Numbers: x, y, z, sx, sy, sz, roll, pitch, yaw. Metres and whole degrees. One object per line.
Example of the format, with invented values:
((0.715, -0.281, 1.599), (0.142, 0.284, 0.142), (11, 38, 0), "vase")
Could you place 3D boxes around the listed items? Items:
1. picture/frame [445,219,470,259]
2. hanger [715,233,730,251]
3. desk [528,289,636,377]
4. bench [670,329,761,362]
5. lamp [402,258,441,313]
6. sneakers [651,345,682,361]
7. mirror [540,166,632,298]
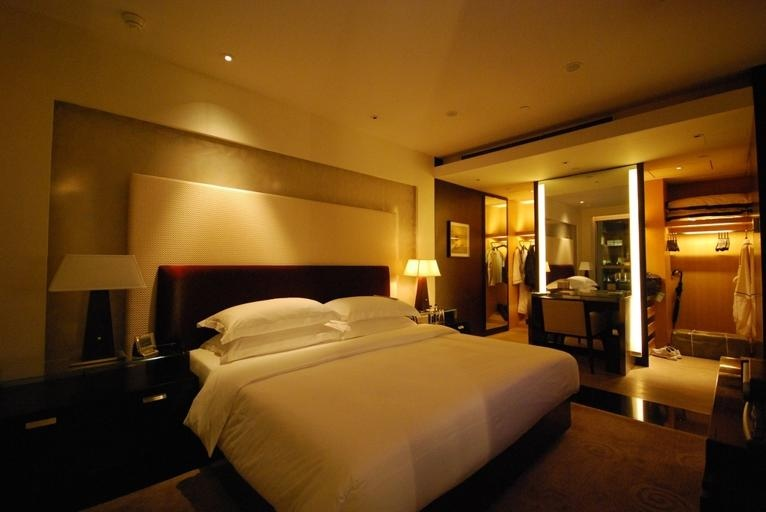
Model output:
((1.047, -0.239, 7.371), (0.053, 0.490, 0.555), (-2, -3, 39), "picture/frame")
((4.665, -0.184, 7.033), (0.174, 0.248, 0.131), (-1, -1, 32), "hanger")
((2.599, 0.799, 6.693), (1.249, 1.080, 1.086), (5, 24, 42), "desk")
((4.204, 1.159, 6.563), (0.859, 0.356, 0.223), (-2, -1, 44), "bench")
((0.512, 0.389, 6.555), (0.478, 0.692, 0.493), (0, -4, -12), "lamp")
((3.708, 1.269, 6.700), (0.157, 0.121, 0.297), (1, -1, -24), "sneakers")
((2.715, -0.269, 6.845), (1.377, 2.055, 0.036), (-1, -31, 22), "mirror")
